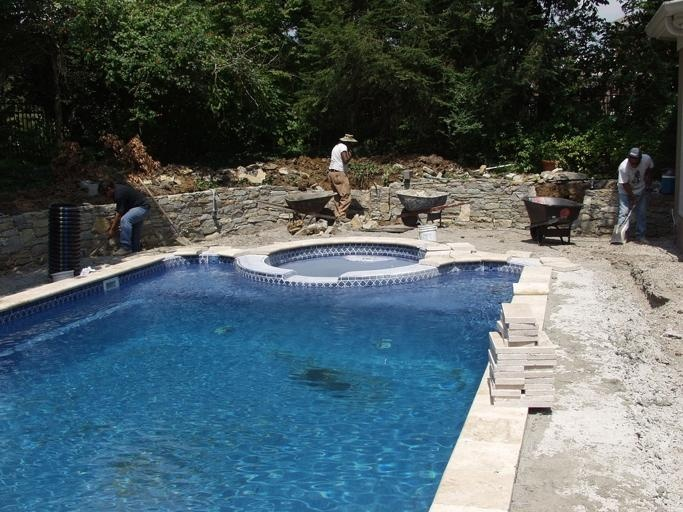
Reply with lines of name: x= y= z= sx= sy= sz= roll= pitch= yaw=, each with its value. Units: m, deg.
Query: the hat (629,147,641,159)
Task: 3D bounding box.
hat: x=5.720 y=-2.004 z=10.807 sx=0.204 sy=0.138 sz=0.293 roll=14 pitch=13 yaw=32

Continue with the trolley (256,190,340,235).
trolley: x=-0.954 y=-1.109 z=14.044 sx=1.768 sy=0.546 sz=0.899 roll=3 pitch=-6 yaw=18

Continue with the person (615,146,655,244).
person: x=5.857 y=-1.225 z=11.117 sx=0.748 sy=1.846 sz=0.514 roll=-10 pitch=15 yaw=-41

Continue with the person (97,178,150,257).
person: x=-4.505 y=-0.768 z=11.483 sx=0.876 sy=1.522 sz=0.930 roll=1 pitch=11 yaw=6

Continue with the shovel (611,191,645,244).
shovel: x=5.851 y=-0.877 z=11.267 sx=0.442 sy=0.351 sz=1.456 roll=9 pitch=26 yaw=30

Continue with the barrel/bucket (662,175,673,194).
barrel/bucket: x=6.932 y=-1.519 z=11.841 sx=0.226 sy=0.410 sz=0.226 roll=0 pitch=11 yaw=0

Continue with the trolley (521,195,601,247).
trolley: x=4.442 y=-0.720 z=11.883 sx=1.258 sy=0.643 sz=1.170 roll=7 pitch=3 yaw=9

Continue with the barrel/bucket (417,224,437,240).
barrel/bucket: x=1.874 y=-0.529 z=12.258 sx=0.435 sy=0.360 sz=0.394 roll=-3 pitch=6 yaw=-28

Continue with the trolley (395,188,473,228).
trolley: x=2.246 y=-1.181 z=13.825 sx=1.892 sy=0.625 sz=0.999 roll=0 pitch=9 yaw=17
